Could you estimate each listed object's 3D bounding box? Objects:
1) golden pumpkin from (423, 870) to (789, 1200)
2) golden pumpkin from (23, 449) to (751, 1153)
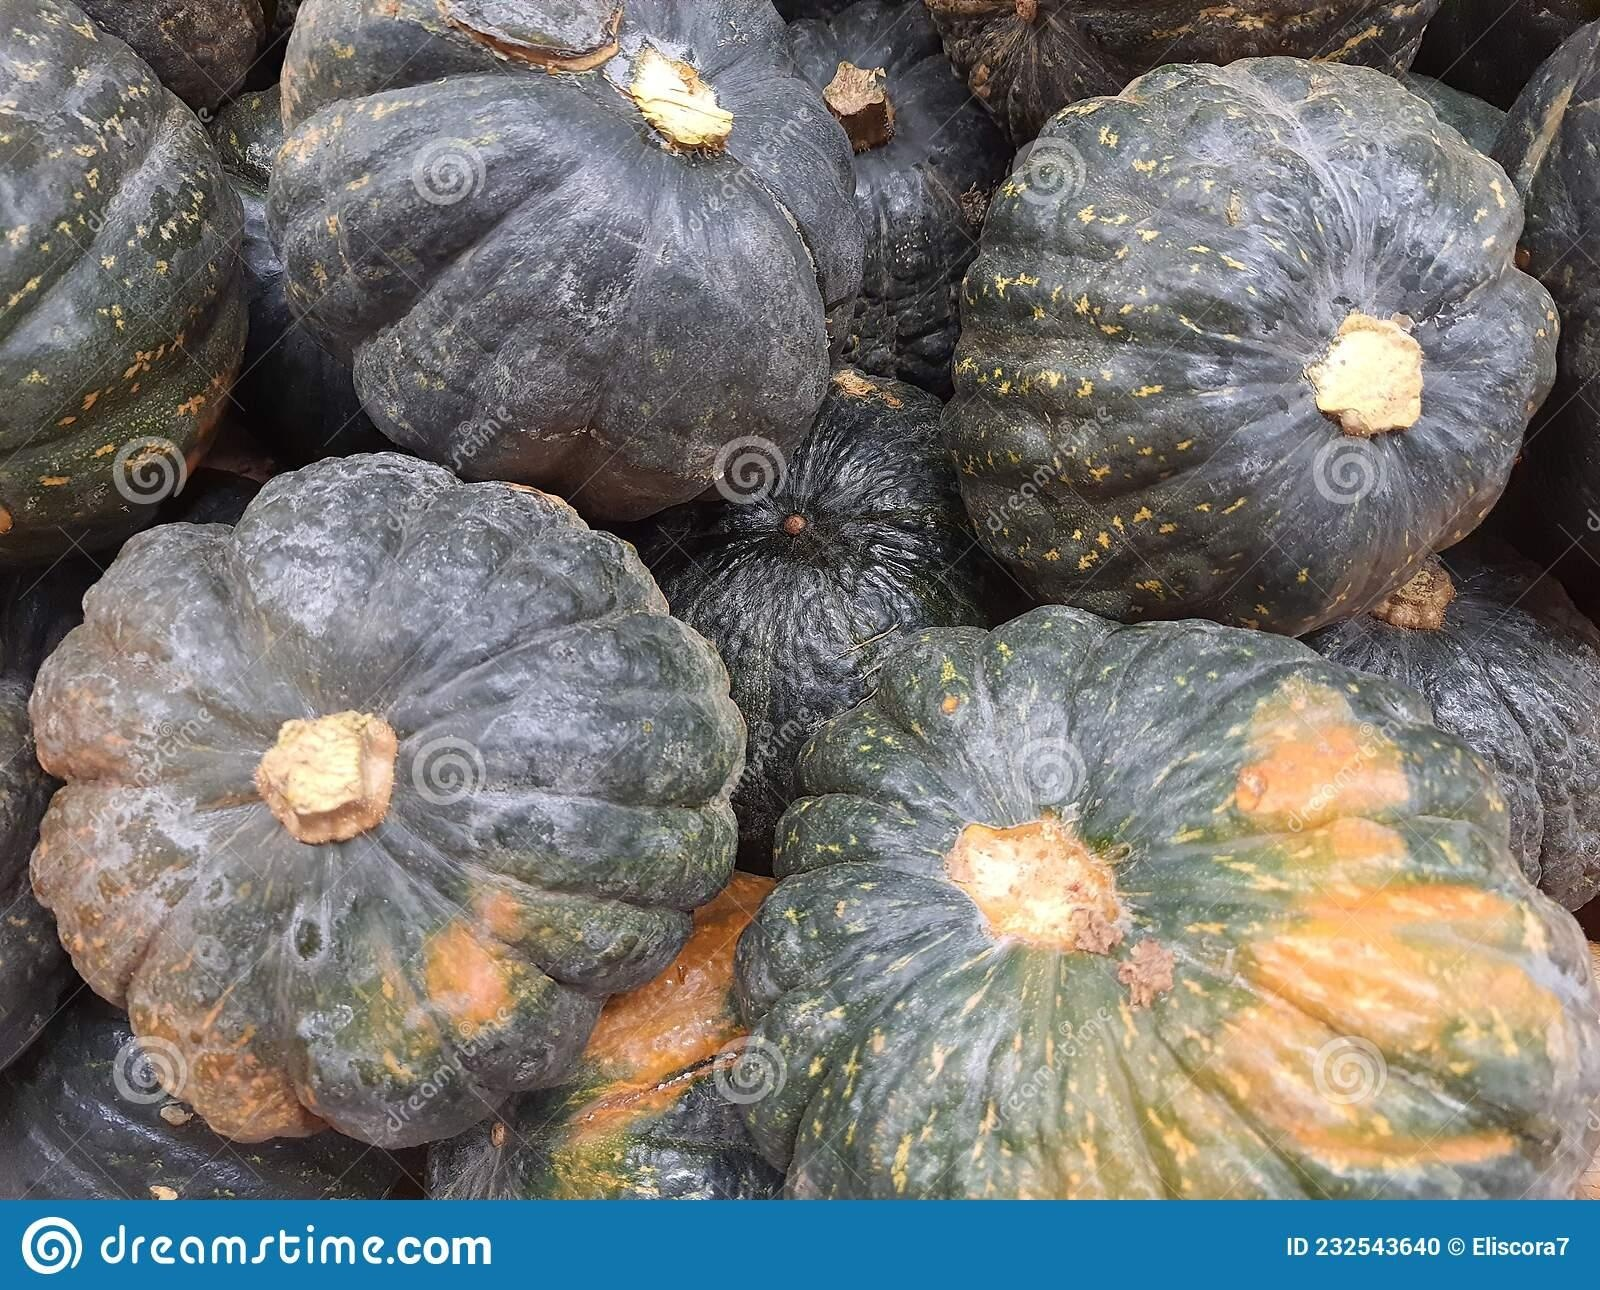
[{"bbox_3d":[-0.398,0.918,3.828,0.664,0.276,0.616,-18,87,-19],"label":"golden pumpkin"},{"bbox_3d":[-0.771,0.270,3.424,1.284,0.737,1.091,-22,58,-17],"label":"golden pumpkin"}]
